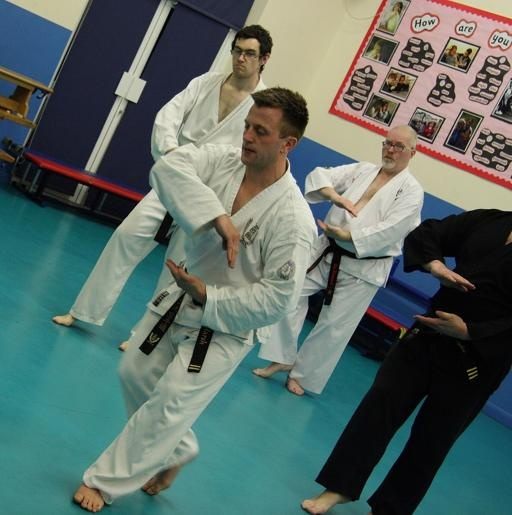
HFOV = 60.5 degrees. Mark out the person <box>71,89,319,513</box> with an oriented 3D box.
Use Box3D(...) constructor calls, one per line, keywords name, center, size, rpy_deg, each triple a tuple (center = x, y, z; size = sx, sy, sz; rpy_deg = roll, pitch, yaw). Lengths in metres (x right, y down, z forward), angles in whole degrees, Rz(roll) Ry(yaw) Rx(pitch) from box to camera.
Box3D(name="person", center=(-0.193, 0.143, 1.468), size=(0.436, 1.139, 0.610), rpy_deg=(19, 15, -40))
